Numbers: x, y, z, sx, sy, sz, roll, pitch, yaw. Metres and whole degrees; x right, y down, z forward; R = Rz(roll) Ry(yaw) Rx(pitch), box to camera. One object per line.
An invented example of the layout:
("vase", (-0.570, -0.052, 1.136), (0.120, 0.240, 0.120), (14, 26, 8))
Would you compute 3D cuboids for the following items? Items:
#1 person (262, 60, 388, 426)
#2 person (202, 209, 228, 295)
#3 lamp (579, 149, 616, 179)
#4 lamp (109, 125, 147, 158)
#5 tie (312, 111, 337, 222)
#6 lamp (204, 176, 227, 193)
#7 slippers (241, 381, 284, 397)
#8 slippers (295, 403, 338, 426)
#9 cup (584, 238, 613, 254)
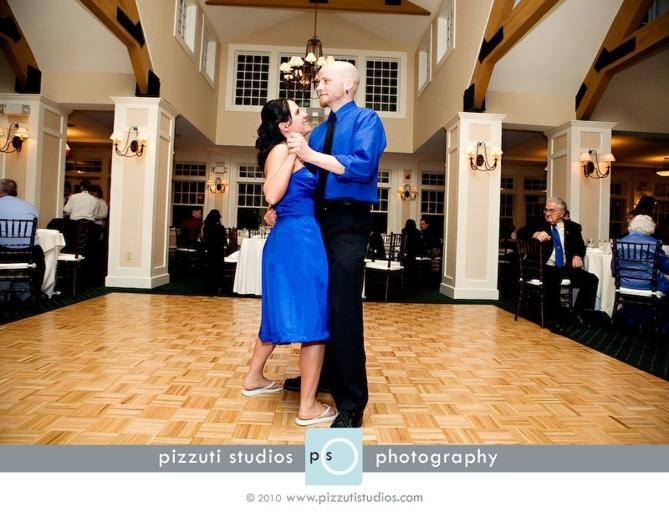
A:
("person", (-0.011, -0.074, 2.504), (0.605, 1.980, 0.647), (3, 2, 25))
("person", (-1.747, -0.087, 6.655), (0.303, 1.213, 0.765), (2, 2, -15))
("lamp", (4.303, -1.542, 7.555), (0.476, 0.473, 0.293), (4, 2, 29))
("lamp", (-3.167, -1.785, 7.100), (0.531, 0.501, 0.186), (3, 2, 3))
("tie", (-0.056, -0.477, 2.519), (0.079, 0.715, 0.071), (5, 1, 6))
("lamp", (-3.065, -1.867, 11.953), (0.512, 0.447, 0.266), (2, 2, -17))
("slippers", (-0.456, 0.814, 2.915), (0.187, 0.050, 0.097), (-1, 1, -32))
("slippers", (-0.094, 0.856, 2.526), (0.178, 0.065, 0.093), (0, 0, -25))
("cup", (3.556, -0.144, 6.180), (0.218, 0.226, 0.175), (6, 6, 19))
